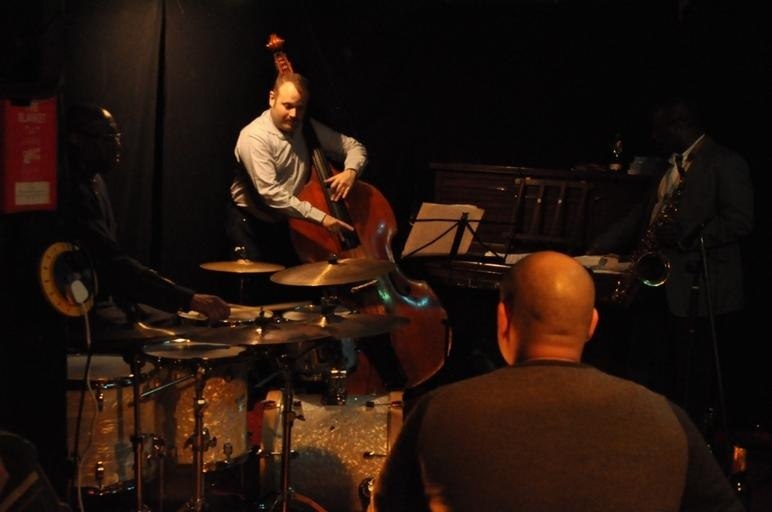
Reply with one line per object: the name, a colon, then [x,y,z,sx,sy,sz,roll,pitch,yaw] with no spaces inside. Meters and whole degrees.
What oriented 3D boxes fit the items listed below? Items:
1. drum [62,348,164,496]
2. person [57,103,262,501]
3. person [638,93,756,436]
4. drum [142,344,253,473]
drum: [-1.658,0.993,4.900,0.736,0.660,0.724,-1,2,-45]
person: [-1.588,-0.090,5.021,0.784,1.695,0.707,0,3,-27]
person: [2.103,0.082,5.511,0.511,2.144,0.814,7,15,24]
drum: [-0.991,0.894,4.865,0.730,0.728,0.703,0,-1,3]
